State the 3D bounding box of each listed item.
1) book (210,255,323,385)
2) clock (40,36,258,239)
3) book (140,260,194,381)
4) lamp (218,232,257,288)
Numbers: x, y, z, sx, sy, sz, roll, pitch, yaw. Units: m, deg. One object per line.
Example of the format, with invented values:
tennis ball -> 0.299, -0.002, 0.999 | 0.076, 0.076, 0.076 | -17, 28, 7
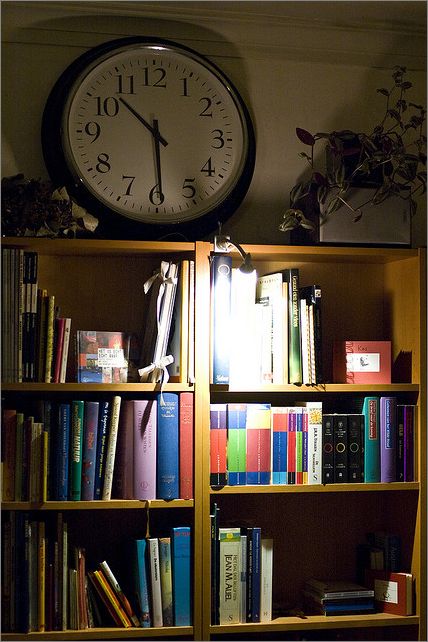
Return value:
book -> 0.115, 0.010, 2.274 | 0.329, 0.482, 0.357 | 1, -3, -16
clock -> -0.238, -0.571, 2.307 | 0.614, 0.664, 0.085 | 2, -8, -14
book -> -0.129, 0.010, 2.080 | 0.097, 0.307, 0.292 | 2, -11, -6
lamp -> 0.077, -0.172, 2.149 | 0.118, 0.122, 0.205 | -2, -8, 19
